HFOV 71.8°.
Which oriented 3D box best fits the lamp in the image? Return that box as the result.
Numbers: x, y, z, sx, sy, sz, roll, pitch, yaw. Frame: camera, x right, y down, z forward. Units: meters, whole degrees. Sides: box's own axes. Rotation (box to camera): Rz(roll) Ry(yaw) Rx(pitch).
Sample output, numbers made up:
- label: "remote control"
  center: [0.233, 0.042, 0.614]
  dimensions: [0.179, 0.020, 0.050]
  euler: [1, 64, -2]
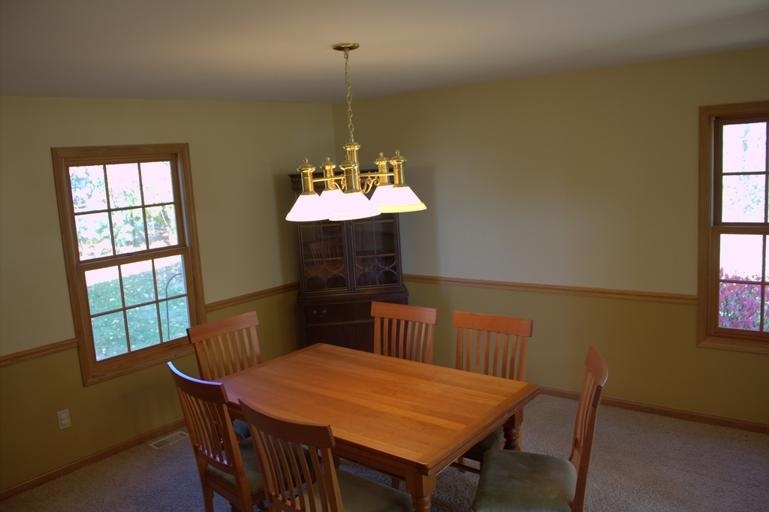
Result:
- label: "lamp"
  center: [-0.273, -0.787, 3.350]
  dimensions: [0.957, 0.998, 0.943]
  euler: [-6, 10, -39]
